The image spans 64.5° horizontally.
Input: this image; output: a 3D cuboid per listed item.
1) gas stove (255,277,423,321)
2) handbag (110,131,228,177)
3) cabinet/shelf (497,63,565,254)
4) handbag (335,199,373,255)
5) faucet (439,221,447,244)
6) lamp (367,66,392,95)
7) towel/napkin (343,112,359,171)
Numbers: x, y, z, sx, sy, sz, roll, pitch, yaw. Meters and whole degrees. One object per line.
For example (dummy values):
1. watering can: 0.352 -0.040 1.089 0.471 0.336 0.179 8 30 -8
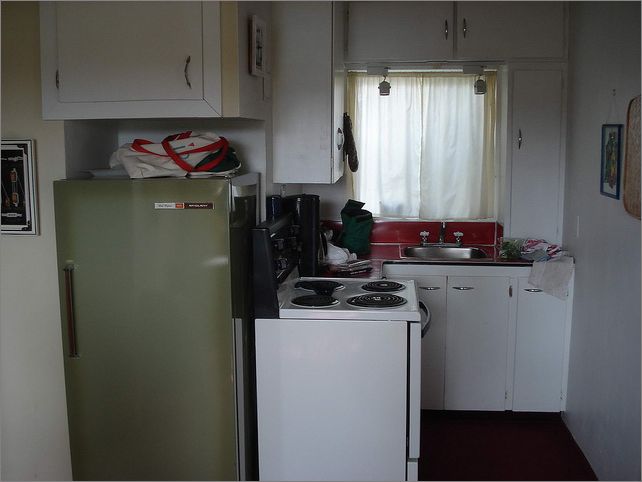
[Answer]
1. gas stove: 0.144 0.304 2.698 0.753 0.110 0.823 0 6 15
2. handbag: -0.670 -0.386 2.333 0.332 0.120 0.286 -5 16 -21
3. cabinet/shelf: 1.639 -0.693 3.847 0.407 1.398 0.320 7 33 31
4. handbag: 0.280 -0.187 4.029 0.270 0.514 0.383 2 34 7
5. faucet: 0.991 -0.070 4.156 0.054 0.174 0.097 4 14 21
6. lamp: 0.451 -1.236 3.906 0.196 0.284 0.150 -1 23 2
7. towel/napkin: 0.218 -0.706 3.738 0.090 0.480 0.116 -2 11 3
